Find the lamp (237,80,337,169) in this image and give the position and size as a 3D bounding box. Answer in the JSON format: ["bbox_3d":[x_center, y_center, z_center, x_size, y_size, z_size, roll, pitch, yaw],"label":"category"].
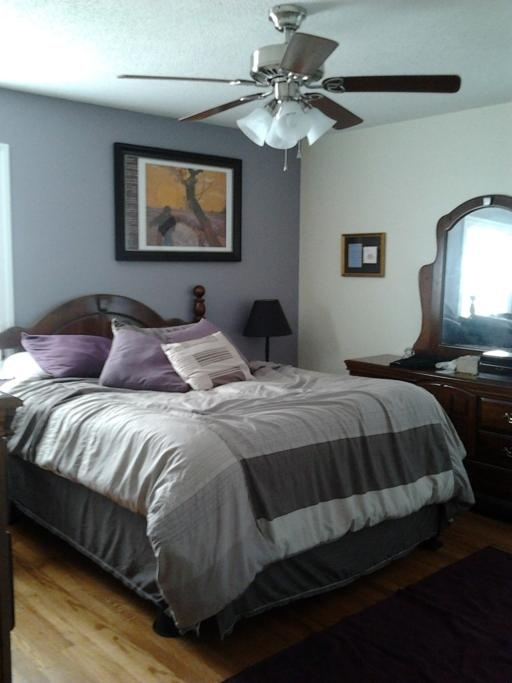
[{"bbox_3d":[0.103,-0.900,2.325,0.463,0.338,0.427,0,47,-3],"label":"lamp"}]

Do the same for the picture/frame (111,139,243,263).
[{"bbox_3d":[-0.594,-1.007,4.001,1.097,0.719,0.043,-3,5,-42],"label":"picture/frame"}]

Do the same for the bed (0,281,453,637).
[{"bbox_3d":[-0.394,0.332,2.379,1.389,0.519,1.177,6,10,44],"label":"bed"}]

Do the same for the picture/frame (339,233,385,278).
[{"bbox_3d":[0.823,-0.665,4.343,0.032,0.308,0.389,-2,6,-44],"label":"picture/frame"}]
